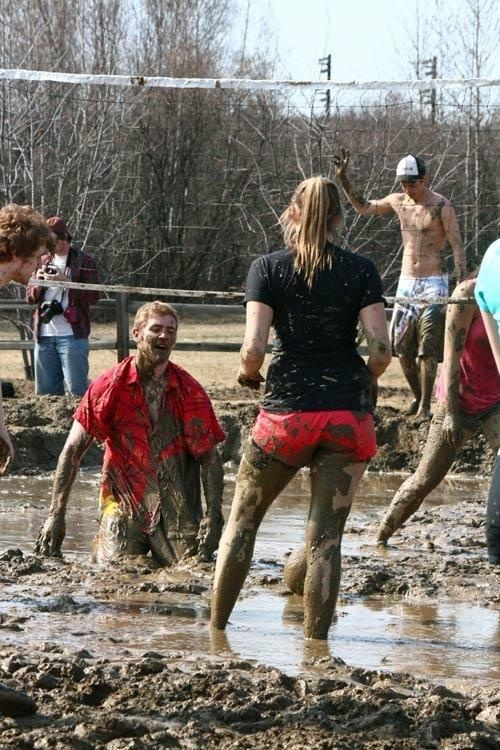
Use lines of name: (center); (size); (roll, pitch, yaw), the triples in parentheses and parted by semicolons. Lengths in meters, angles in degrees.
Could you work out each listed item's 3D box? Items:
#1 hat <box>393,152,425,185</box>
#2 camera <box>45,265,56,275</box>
hat: (1.152, -1.495, 9.869); (0.204, 0.206, 0.239); (3, 4, 7)
camera: (-1.386, -0.743, 9.695); (0.057, 0.065, 0.096); (20, -8, 4)
